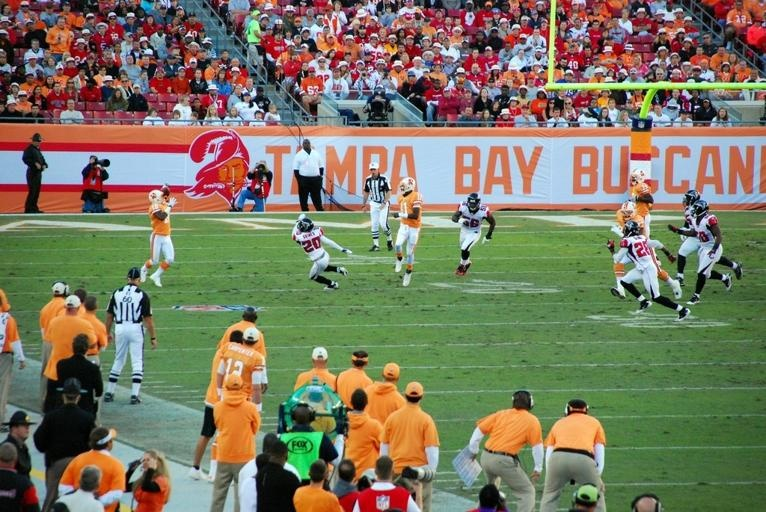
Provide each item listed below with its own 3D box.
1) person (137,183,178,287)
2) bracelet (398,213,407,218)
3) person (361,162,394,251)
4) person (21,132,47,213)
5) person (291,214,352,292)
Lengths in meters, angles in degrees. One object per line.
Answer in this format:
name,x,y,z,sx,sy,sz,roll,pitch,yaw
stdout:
person,-5.341,-0.526,36.007,0.974,2.446,1.049,3,-2,-8
bracelet,0.513,-1.016,36.838,0.224,0.128,0.105,0,2,4
person,-0.002,-1.266,39.023,1.017,2.209,0.935,0,1,-25
person,-9.387,-2.226,40.617,0.702,2.024,0.810,1,7,-5
person,-1.565,-0.159,36.036,1.309,1.843,0.864,3,6,24
